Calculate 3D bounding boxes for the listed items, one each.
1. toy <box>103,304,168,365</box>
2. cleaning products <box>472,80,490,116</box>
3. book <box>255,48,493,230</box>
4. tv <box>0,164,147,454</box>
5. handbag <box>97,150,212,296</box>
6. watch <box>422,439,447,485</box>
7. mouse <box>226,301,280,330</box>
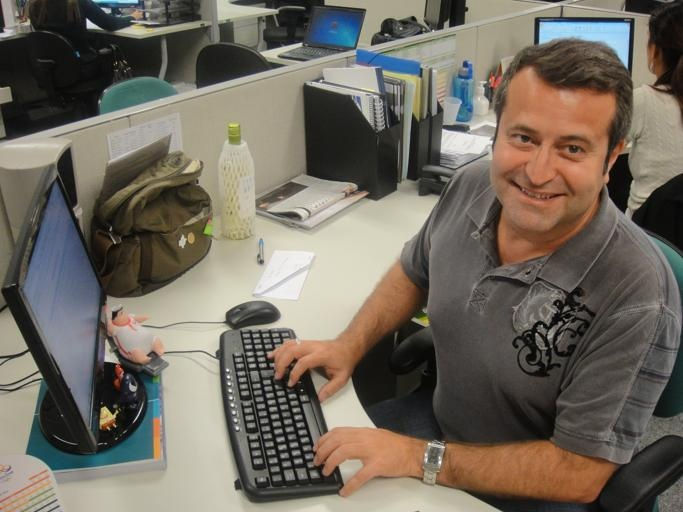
[{"bbox_3d":[-0.522,0.212,1.335,0.161,0.066,0.104,40,38,17],"label":"toy"},{"bbox_3d":[0.746,-0.845,2.865,0.110,0.170,0.110,-13,30,-14],"label":"cleaning products"},{"bbox_3d":[0.115,-0.433,2.000,0.515,0.541,0.767,23,40,36],"label":"book"},{"bbox_3d":[-0.586,0.125,1.157,0.253,0.474,0.426,-6,51,-5],"label":"tv"},{"bbox_3d":[-0.544,-0.087,1.511,0.186,0.230,0.320,23,43,26],"label":"handbag"},{"bbox_3d":[0.189,0.424,1.108,0.040,0.073,0.081,6,71,22],"label":"watch"},{"bbox_3d":[-0.236,0.156,1.430,0.112,0.038,0.070,-2,20,-18],"label":"mouse"}]
